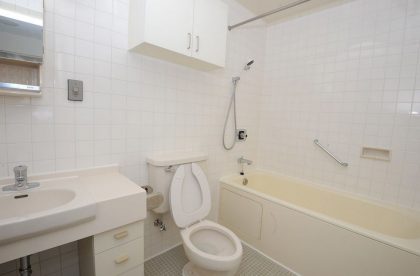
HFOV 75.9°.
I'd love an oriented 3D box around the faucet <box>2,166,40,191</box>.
[{"bbox_3d":[-1.635,0.346,2.318,0.265,0.208,0.134,-5,11,-32],"label":"faucet"}]
